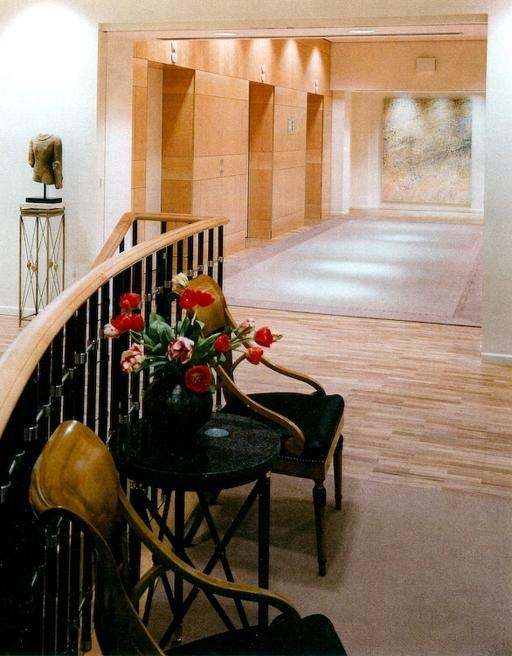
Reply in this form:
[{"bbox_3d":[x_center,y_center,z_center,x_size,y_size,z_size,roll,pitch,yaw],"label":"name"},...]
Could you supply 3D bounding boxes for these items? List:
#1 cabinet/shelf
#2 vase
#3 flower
[{"bbox_3d":[-2.616,-0.768,6.586,0.701,1.396,0.411,-1,8,14],"label":"cabinet/shelf"},{"bbox_3d":[-0.227,0.209,1.675,0.190,0.181,0.202,2,10,2],"label":"vase"},{"bbox_3d":[-0.223,0.031,1.713,0.555,0.363,0.505,4,9,-2],"label":"flower"}]
